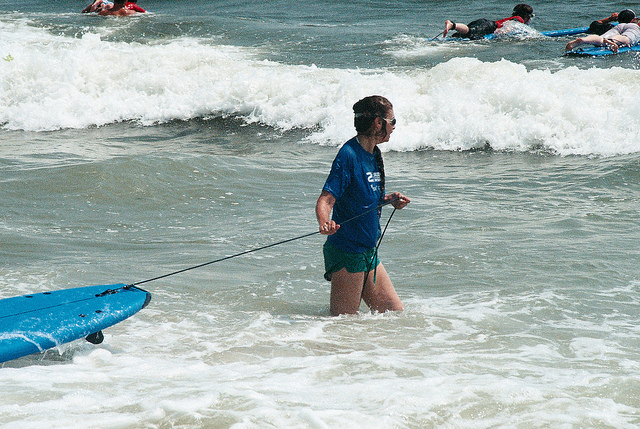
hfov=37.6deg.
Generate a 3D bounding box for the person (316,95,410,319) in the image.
[{"bbox_3d":[0.448,-0.077,12.597,1.217,2.995,0.452,-6,10,-35],"label":"person"}]

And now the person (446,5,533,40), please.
[{"bbox_3d":[4.737,-5.253,26.065,2.155,0.648,1.211,-4,23,-17],"label":"person"}]
